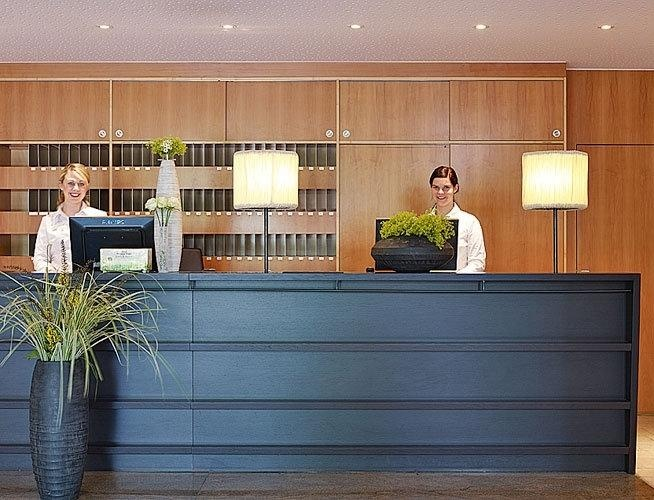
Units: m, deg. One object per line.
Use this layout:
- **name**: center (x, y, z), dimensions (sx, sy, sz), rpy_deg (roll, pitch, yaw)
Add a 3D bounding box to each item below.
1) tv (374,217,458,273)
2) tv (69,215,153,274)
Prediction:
- **tv**: center (0.588, -0.035, 4.898), dimensions (0.545, 0.347, 0.425), rpy_deg (-1, 2, 5)
- **tv**: center (-1.333, -0.033, 4.644), dimensions (0.373, 0.295, 0.118), rpy_deg (0, -2, 1)
